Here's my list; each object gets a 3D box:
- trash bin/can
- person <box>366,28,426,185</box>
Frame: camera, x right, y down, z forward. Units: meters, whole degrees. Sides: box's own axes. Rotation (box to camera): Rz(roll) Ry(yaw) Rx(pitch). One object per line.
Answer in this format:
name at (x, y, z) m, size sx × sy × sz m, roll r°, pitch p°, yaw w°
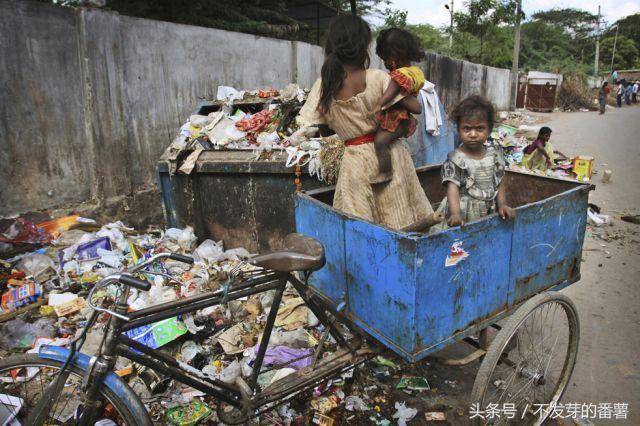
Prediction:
trash bin/can at (-0.534, -0.341, 6.511) m, size 2.428 × 1.635 × 2.481 m, roll 5°, pitch 11°, yaw 32°
person at (0.655, -0.909, 3.899) m, size 0.400 × 1.259 × 0.615 m, roll 1°, pitch 15°, yaw 12°
